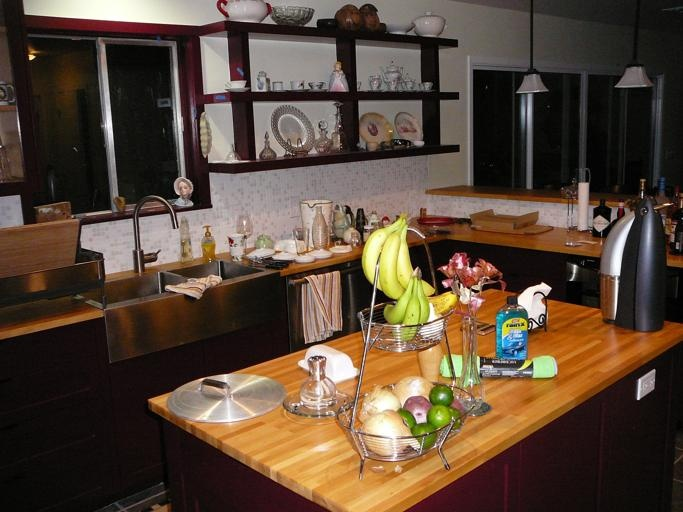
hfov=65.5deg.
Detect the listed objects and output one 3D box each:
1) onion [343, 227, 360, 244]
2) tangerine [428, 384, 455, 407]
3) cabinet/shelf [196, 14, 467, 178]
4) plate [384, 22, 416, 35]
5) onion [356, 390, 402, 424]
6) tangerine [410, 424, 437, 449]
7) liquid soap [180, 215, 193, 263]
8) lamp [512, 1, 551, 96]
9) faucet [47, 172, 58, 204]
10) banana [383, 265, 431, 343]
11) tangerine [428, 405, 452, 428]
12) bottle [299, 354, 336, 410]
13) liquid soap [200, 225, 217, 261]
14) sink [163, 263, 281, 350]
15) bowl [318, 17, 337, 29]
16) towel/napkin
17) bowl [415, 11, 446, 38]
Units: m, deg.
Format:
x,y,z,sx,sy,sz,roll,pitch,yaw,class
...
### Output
x,y,z,sx,sy,sz,roll,pitch,yaw,class
0.078,-0.164,4.306,0.123,0.124,0.126,-1,0,-12,onion
0.320,0.459,1.705,0.058,0.062,0.059,4,28,-33,tangerine
0.051,-1.349,4.520,2.311,1.036,0.380,-11,17,-31,cabinet/shelf
0.501,-1.997,4.668,0.181,0.075,0.187,-5,18,-12,plate
0.116,0.450,1.621,0.112,0.109,0.108,1,-31,-22,onion
0.229,0.506,1.517,0.067,0.072,0.068,-1,-7,-10,tangerine
-1.168,-0.143,3.941,0.092,0.312,0.235,-6,14,-15,liquid soap
1.999,-2.221,5.523,0.307,1.045,2.117,3,15,19,lamp
-1.863,-0.442,3.439,0.043,0.181,0.052,-13,26,-27,faucet
0.212,0.164,1.831,0.129,0.237,0.144,17,12,36,banana
0.285,0.469,1.546,0.070,0.046,0.074,1,14,11,tangerine
-0.088,0.449,1.931,0.152,0.178,0.157,2,8,33,bottle
-1.001,-0.103,3.946,0.090,0.257,0.177,-7,15,-19,liquid soap
-0.834,0.387,3.644,0.803,0.295,0.551,-12,-6,-16,sink
-0.110,-1.873,4.288,0.175,0.088,0.120,-5,14,-10,bowl
-0.161,0.367,3.803,0.462,0.555,0.121,-13,17,-43,towel/napkin
0.796,-2.061,4.808,0.239,0.169,0.220,-1,16,0,bowl
